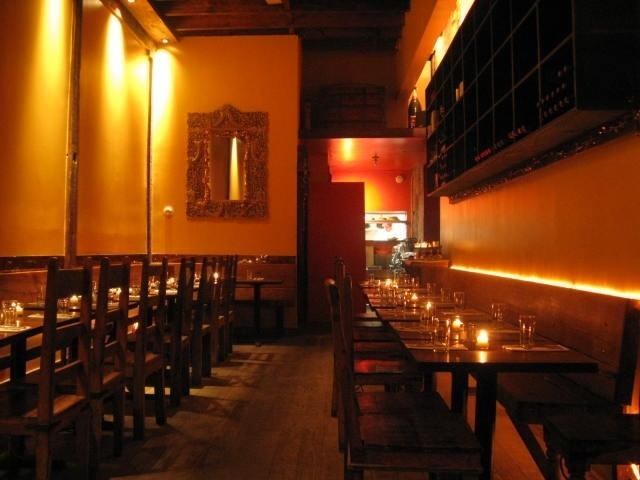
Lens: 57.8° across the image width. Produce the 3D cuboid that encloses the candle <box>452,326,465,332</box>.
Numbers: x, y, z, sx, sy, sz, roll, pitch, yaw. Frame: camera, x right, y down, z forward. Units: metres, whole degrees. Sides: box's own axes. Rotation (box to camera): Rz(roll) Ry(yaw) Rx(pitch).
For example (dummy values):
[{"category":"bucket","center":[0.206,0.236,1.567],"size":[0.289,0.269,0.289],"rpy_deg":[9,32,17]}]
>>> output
[{"category":"candle","center":[0.860,0.551,3.607],"size":[0.053,0.054,0.055],"rpy_deg":[-1,3,-4]}]

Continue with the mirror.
[{"category":"mirror","center":[-1.345,-1.165,8.588],"size":[1.190,1.649,0.190],"rpy_deg":[1,5,4]}]

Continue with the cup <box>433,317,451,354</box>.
[{"category":"cup","center":[0.709,0.558,3.357],"size":[0.130,0.221,0.132],"rpy_deg":[-1,-7,0]}]

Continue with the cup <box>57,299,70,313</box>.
[{"category":"cup","center":[-1.914,0.483,4.340],"size":[0.087,0.104,0.087],"rpy_deg":[0,4,0]}]

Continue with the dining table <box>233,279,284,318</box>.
[{"category":"dining table","center":[-0.796,0.743,7.865],"size":[0.538,0.561,0.564],"rpy_deg":[-1,-3,4]}]

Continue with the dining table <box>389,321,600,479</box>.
[{"category":"dining table","center":[0.930,1.084,3.331],"size":[0.649,0.648,1.252],"rpy_deg":[1,-2,1]}]

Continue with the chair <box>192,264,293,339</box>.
[{"category":"chair","center":[-0.930,0.877,8.394],"size":[1.116,1.161,0.854],"rpy_deg":[-1,-7,2]}]
